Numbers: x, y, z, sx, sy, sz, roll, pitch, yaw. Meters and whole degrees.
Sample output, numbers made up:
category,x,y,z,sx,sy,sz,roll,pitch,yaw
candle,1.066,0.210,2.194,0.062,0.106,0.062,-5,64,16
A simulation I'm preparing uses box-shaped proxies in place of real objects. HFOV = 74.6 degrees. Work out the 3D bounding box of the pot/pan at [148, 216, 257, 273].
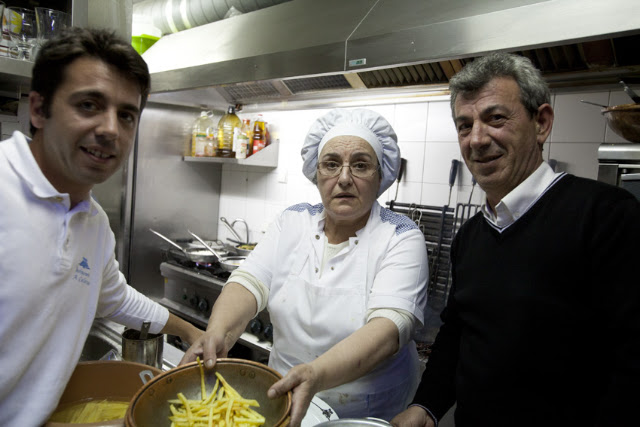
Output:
category,x,y,z,sx,sy,sz,roll,pitch,yaw
pot/pan,-0.901,0.271,3.110,0.684,0.103,0.387,19,17,27

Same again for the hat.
category,x,y,z,sx,sy,sz,roll,pitch,yaw
hat,0.086,-0.297,2.039,0.574,0.233,0.574,-13,3,-5
